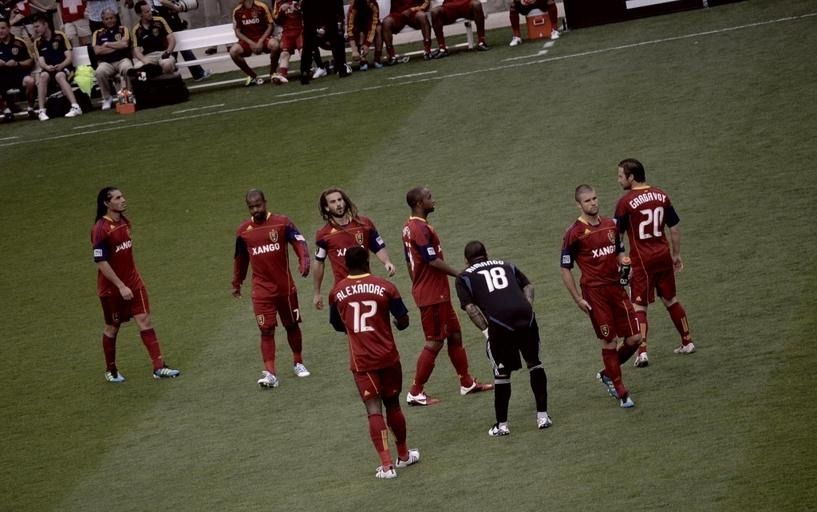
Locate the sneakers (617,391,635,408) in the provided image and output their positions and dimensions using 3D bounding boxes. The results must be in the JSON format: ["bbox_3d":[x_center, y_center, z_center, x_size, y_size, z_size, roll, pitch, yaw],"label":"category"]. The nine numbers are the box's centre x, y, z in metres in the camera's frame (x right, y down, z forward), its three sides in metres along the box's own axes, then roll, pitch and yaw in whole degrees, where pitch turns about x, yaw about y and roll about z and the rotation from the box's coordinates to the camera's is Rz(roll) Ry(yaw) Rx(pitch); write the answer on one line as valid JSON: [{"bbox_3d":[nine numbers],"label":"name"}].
[{"bbox_3d":[3.331,2.180,18.689,0.153,0.120,0.299,0,14,-2],"label":"sneakers"}]

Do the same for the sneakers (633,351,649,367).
[{"bbox_3d":[3.710,1.656,19.504,0.137,0.145,0.326,-2,-12,-4],"label":"sneakers"}]

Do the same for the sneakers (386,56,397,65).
[{"bbox_3d":[-0.403,-4.871,30.553,0.192,0.196,0.303,-2,1,-7],"label":"sneakers"}]

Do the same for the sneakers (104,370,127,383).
[{"bbox_3d":[-4.884,1.999,20.544,0.290,0.115,0.170,7,14,34],"label":"sneakers"}]

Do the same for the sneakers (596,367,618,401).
[{"bbox_3d":[3.093,1.961,18.950,0.172,0.498,0.235,-38,-12,4],"label":"sneakers"}]

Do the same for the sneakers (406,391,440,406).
[{"bbox_3d":[0.230,2.229,19.344,0.566,0.215,0.189,-2,7,-6],"label":"sneakers"}]

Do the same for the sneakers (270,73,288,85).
[{"bbox_3d":[-3.131,-4.345,30.055,0.236,0.187,0.457,-35,20,-13],"label":"sneakers"}]

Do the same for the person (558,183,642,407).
[{"bbox_3d":[2.965,0.572,18.775,0.962,3.353,0.973,1,18,36],"label":"person"}]

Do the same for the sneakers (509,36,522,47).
[{"bbox_3d":[2.628,-5.256,30.065,0.302,0.204,0.349,-7,13,5],"label":"sneakers"}]

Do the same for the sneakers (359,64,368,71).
[{"bbox_3d":[-1.073,-4.659,30.202,0.190,0.173,0.134,0,10,6],"label":"sneakers"}]

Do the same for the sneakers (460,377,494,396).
[{"bbox_3d":[1.064,2.047,19.439,0.630,0.276,0.203,-5,10,-2],"label":"sneakers"}]

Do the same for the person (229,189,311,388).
[{"bbox_3d":[-2.199,0.482,20.087,1.311,3.181,1.041,-8,14,5],"label":"person"}]

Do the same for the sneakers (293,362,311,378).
[{"bbox_3d":[-1.745,1.870,20.192,0.139,0.146,0.338,-22,14,-24],"label":"sneakers"}]

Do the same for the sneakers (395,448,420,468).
[{"bbox_3d":[0.021,3.000,18.278,0.374,0.148,0.191,-27,38,-34],"label":"sneakers"}]

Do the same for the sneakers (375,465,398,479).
[{"bbox_3d":[-0.306,3.171,18.107,0.146,0.143,0.324,-7,10,-37],"label":"sneakers"}]

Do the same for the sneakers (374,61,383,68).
[{"bbox_3d":[-0.721,-4.742,30.445,0.126,0.116,0.198,0,3,34],"label":"sneakers"}]

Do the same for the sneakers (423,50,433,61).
[{"bbox_3d":[0.471,-4.939,30.194,0.237,0.157,0.233,8,7,15],"label":"sneakers"}]

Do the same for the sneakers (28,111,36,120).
[{"bbox_3d":[-9.425,-3.532,30.853,0.250,0.219,0.255,-1,-1,40],"label":"sneakers"}]

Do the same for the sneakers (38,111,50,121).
[{"bbox_3d":[-9.037,-3.501,30.432,0.256,0.260,0.294,-10,14,-4],"label":"sneakers"}]

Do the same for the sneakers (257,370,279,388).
[{"bbox_3d":[-2.270,2.025,20.060,0.171,0.215,0.444,-8,-16,18],"label":"sneakers"}]

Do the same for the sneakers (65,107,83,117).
[{"bbox_3d":[-8.321,-3.564,30.327,0.551,0.222,0.186,-9,32,4],"label":"sneakers"}]

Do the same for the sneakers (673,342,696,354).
[{"bbox_3d":[4.410,1.450,19.445,0.396,0.173,0.134,1,19,40],"label":"sneakers"}]

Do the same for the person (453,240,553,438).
[{"bbox_3d":[1.436,1.206,18.467,1.087,2.877,0.790,-9,14,4],"label":"person"}]

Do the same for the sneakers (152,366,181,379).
[{"bbox_3d":[-4.023,1.936,20.449,0.480,0.201,0.177,-1,4,10],"label":"sneakers"}]

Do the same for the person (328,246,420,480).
[{"bbox_3d":[-0.402,1.527,18.155,1.087,3.369,0.927,-13,15,-12],"label":"person"}]

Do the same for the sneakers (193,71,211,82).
[{"bbox_3d":[-5.525,-4.778,32.662,0.536,0.220,0.187,-19,31,7],"label":"sneakers"}]
